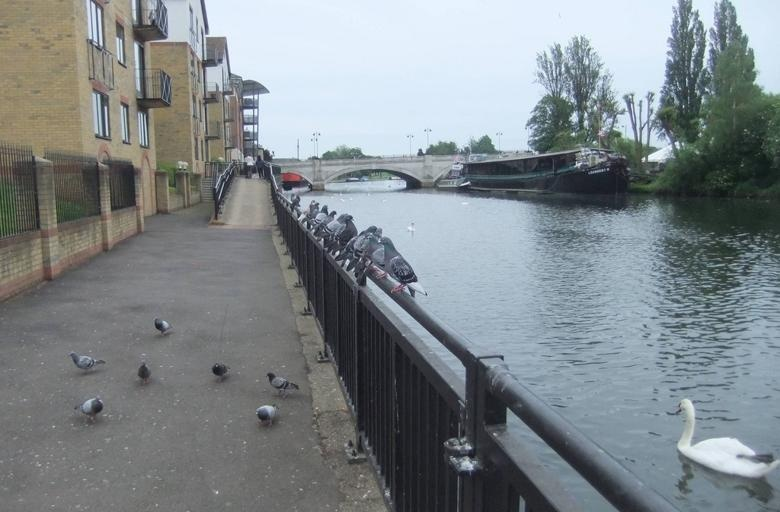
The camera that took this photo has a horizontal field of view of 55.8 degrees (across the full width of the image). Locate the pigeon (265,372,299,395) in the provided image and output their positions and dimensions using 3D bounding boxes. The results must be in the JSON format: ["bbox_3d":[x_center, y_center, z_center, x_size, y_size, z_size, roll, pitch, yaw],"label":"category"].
[{"bbox_3d":[-1.905,2.337,13.636,0.702,0.440,0.269,0,-10,-29],"label":"pigeon"}]

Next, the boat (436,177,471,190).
[{"bbox_3d":[9.641,-11.086,112.034,1.644,1.561,8.607,2,3,-11],"label":"boat"}]

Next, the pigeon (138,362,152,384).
[{"bbox_3d":[-4.587,2.188,13.813,0.205,0.307,0.415,-2,-35,-16],"label":"pigeon"}]

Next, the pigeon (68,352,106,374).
[{"bbox_3d":[-5.902,2.013,14.404,0.585,0.360,0.714,-6,12,-27],"label":"pigeon"}]

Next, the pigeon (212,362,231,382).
[{"bbox_3d":[-3.219,2.163,13.990,0.297,0.323,0.424,-3,11,-13],"label":"pigeon"}]

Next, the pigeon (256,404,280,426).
[{"bbox_3d":[-2.104,2.726,12.732,0.372,0.318,0.326,-4,12,-19],"label":"pigeon"}]

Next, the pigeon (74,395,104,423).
[{"bbox_3d":[-5.218,2.641,12.819,0.403,0.369,0.370,-4,12,-20],"label":"pigeon"}]

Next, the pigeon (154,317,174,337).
[{"bbox_3d":[-4.909,1.483,15.958,0.349,0.353,0.619,-4,12,-19],"label":"pigeon"}]

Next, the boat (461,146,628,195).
[{"bbox_3d":[18.174,-10.685,92.531,6.775,6.930,35.602,-3,11,-14],"label":"boat"}]
